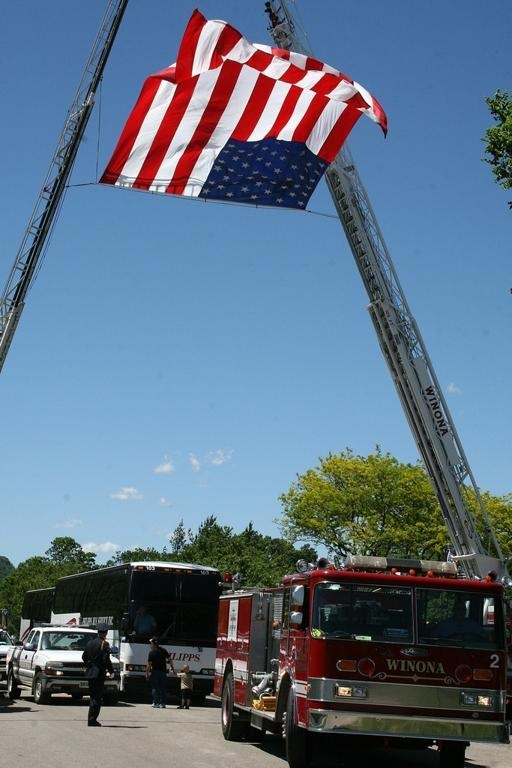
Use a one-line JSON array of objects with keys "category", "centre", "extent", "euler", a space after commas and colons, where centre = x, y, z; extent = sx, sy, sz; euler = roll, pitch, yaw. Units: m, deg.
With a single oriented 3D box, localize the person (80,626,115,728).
[{"category": "person", "centre": [-2.933, 5.367, 13.945], "extent": [0.502, 1.682, 1.291], "euler": [3, -20, -10]}]
